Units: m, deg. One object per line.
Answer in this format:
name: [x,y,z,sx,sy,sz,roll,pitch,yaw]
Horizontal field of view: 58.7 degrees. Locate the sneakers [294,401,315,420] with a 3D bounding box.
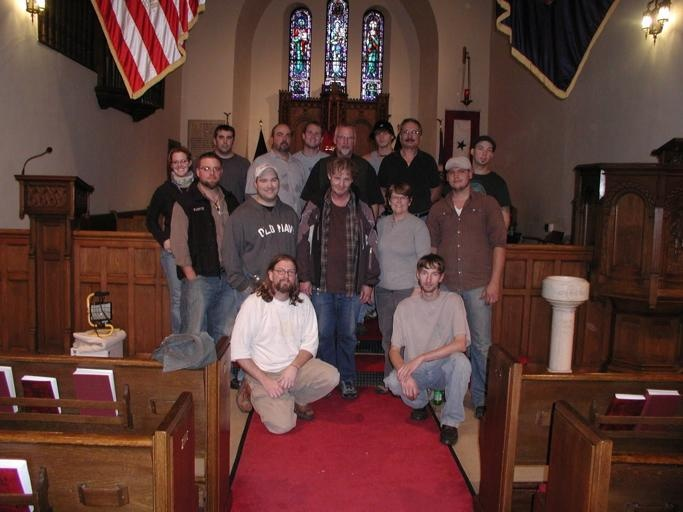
sneakers: [-0.323,1.399,5.440,0.096,0.080,0.186,-1,0,-35]

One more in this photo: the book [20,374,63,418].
book: [-1.946,0.918,3.946,0.223,0.249,0.085,1,8,4]

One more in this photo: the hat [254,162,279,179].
hat: [-0.689,-0.768,5.499,0.167,0.142,0.237,-1,5,-14]

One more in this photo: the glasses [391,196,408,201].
glasses: [0.546,-0.540,5.651,0.161,0.049,0.066,0,4,-1]

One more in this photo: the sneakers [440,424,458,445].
sneakers: [0.913,1.521,5.145,0.106,0.115,0.260,-1,-14,11]

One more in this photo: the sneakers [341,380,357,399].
sneakers: [0.070,1.295,5.881,0.115,0.119,0.266,1,-11,-6]

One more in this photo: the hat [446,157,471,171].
hat: [1.075,-0.856,5.603,0.217,0.147,0.289,1,4,10]

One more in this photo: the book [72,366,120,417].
book: [-1.597,0.887,3.942,0.275,0.412,0.137,-2,4,-2]

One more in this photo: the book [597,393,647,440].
book: [1.836,1.012,3.931,0.243,0.269,0.060,10,15,3]
